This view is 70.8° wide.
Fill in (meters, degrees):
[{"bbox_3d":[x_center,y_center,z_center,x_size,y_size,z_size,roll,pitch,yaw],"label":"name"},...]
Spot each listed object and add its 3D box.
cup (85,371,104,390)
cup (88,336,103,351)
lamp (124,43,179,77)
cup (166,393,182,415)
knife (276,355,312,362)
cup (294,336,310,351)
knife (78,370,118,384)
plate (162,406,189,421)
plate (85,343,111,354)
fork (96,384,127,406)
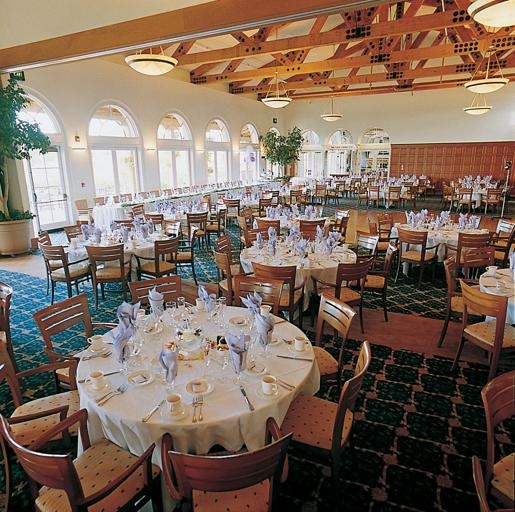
[{"bbox_3d":[-0.956,0.733,2.156,0.077,0.073,0.108,-3,0,-4],"label":"cup"},{"bbox_3d":[-1.156,0.615,2.597,0.096,0.078,0.111,0,3,-1],"label":"cup"},{"bbox_3d":[-1.709,-3.132,5.842,0.642,0.278,0.543,-11,14,-40],"label":"lamp"},{"bbox_3d":[-0.437,0.785,1.938,0.069,0.063,0.095,4,24,1],"label":"cup"},{"bbox_3d":[0.240,0.679,2.421,0.241,0.025,0.042,0,11,9],"label":"knife"},{"bbox_3d":[0.296,0.604,2.512,0.070,0.066,0.100,-1,6,8],"label":"cup"},{"bbox_3d":[-0.971,0.732,2.207,0.245,0.018,0.033,-9,25,-29],"label":"knife"},{"bbox_3d":[-0.434,0.813,1.912,0.147,0.053,0.117,-3,11,-5],"label":"plate"},{"bbox_3d":[-1.116,0.644,2.544,0.144,0.024,0.131,2,12,3],"label":"plate"},{"bbox_3d":[-0.830,0.781,2.055,0.047,0.024,0.160,4,15,16],"label":"fork"}]
